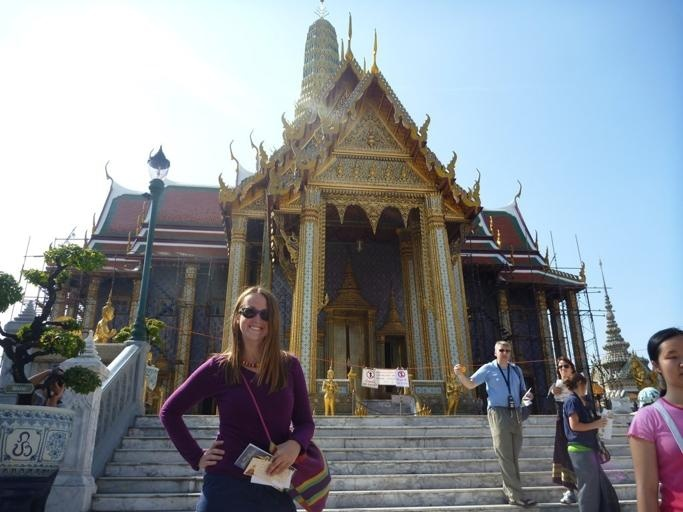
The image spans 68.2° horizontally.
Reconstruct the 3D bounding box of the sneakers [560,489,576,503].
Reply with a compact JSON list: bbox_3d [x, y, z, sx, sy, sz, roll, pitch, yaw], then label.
[{"bbox_3d":[2.435,2.583,5.414,0.090,0.123,0.274,-18,-40,38],"label":"sneakers"}]

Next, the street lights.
[{"bbox_3d":[-3.041,-0.154,7.970,0.515,3.462,0.519,12,-22,-34],"label":"street lights"}]

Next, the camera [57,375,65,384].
[{"bbox_3d":[-2.856,1.252,5.114,0.053,0.087,0.244,7,-17,-28],"label":"camera"}]

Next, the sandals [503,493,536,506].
[{"bbox_3d":[1.902,2.590,5.344,0.260,0.083,0.139,-7,-16,22],"label":"sandals"}]

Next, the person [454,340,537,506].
[{"bbox_3d":[1.776,1.822,5.657,0.699,1.737,0.709,-6,-15,20],"label":"person"}]
